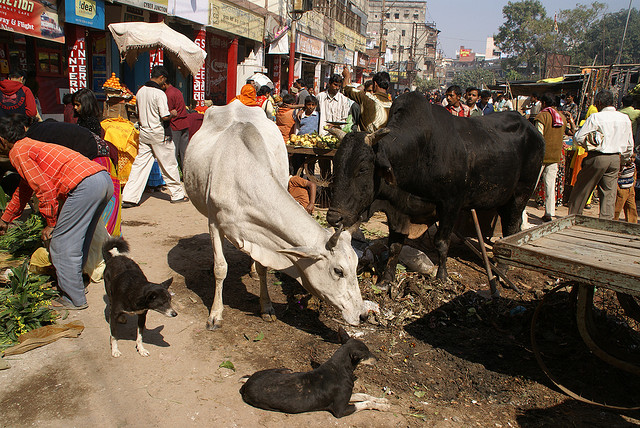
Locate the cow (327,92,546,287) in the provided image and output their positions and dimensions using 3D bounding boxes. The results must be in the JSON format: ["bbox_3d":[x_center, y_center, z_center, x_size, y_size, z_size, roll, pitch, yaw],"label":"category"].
[{"bbox_3d":[1.799,-0.364,7.074,3.638,2.641,1.119,-6,16,-24],"label":"cow"}]

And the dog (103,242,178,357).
[{"bbox_3d":[-2.129,1.054,5.659,0.425,1.020,1.678,1,28,-37],"label":"dog"}]

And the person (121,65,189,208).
[{"bbox_3d":[-3.246,-1.512,9.393,1.199,2.611,0.712,-5,18,-27],"label":"person"}]

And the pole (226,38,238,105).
[{"bbox_3d":[-3.654,-6.002,20.022,0.383,2.492,0.546,-1,16,-13],"label":"pole"}]

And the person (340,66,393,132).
[{"bbox_3d":[0.611,-1.759,7.873,0.364,1.081,1.053,14,21,14],"label":"person"}]

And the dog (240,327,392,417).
[{"bbox_3d":[-0.062,1.674,5.055,1.573,0.852,0.597,7,-1,-15],"label":"dog"}]

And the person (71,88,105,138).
[{"bbox_3d":[-3.661,-1.520,7.571,0.369,0.938,0.378,1,41,-17],"label":"person"}]

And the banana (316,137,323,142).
[{"bbox_3d":[-0.006,-1.492,9.600,0.092,0.032,0.128,9,19,1],"label":"banana"}]

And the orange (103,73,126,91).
[{"bbox_3d":[-4.410,-2.757,10.126,0.415,0.314,0.436,4,10,7],"label":"orange"}]

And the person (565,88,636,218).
[{"bbox_3d":[5.213,-1.069,8.869,0.966,2.358,0.957,14,19,32],"label":"person"}]

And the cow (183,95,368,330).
[{"bbox_3d":[-0.731,0.052,6.024,1.549,2.522,2.934,-4,19,-25],"label":"cow"}]
